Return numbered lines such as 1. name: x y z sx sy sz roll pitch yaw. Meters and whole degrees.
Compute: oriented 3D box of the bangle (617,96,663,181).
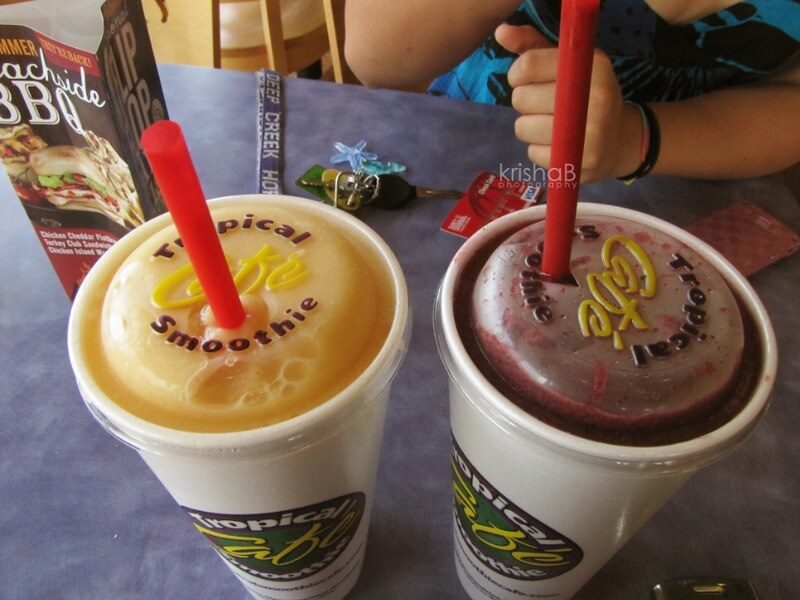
1. bangle: 0.494 -0.326 1.390 0.071 0.130 0.132 5 2 -30
